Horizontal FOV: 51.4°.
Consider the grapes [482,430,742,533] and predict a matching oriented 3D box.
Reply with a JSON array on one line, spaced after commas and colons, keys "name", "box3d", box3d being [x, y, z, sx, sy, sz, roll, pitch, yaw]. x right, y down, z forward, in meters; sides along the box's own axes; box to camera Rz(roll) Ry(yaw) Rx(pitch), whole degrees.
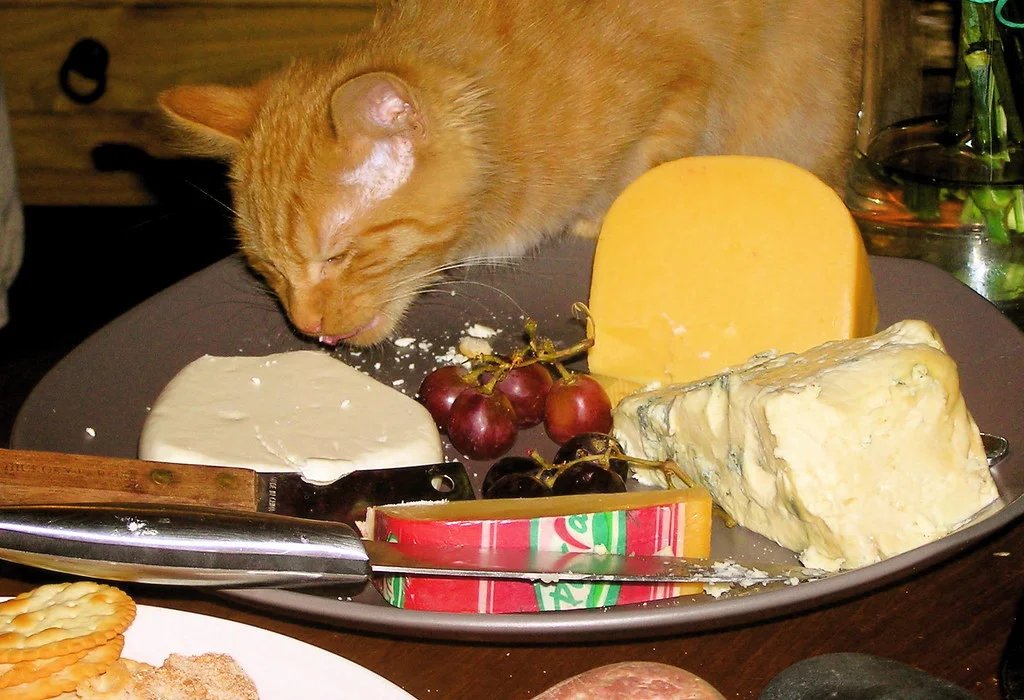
[{"name": "grapes", "box3d": [0.072, 0.121, 1.063, 0.193, 0.057, 0.105, 1, 10, 10]}]

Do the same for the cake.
[{"name": "cake", "box3d": [0.275, 0.080, 1.022, 0.310, 0.121, 0.181, 2, 23, 46]}]

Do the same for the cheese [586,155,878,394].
[{"name": "cheese", "box3d": [0.227, -0.058, 1.145, 0.296, 0.259, 0.079, -1, -4, 25]}]

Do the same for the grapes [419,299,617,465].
[{"name": "grapes", "box3d": [0.023, 0.057, 1.176, 0.188, 0.079, 0.180, -22, 16, -18]}]

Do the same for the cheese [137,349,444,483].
[{"name": "cheese", "box3d": [-0.230, 0.084, 1.172, 0.319, 0.061, 0.243, 4, 29, -1]}]
